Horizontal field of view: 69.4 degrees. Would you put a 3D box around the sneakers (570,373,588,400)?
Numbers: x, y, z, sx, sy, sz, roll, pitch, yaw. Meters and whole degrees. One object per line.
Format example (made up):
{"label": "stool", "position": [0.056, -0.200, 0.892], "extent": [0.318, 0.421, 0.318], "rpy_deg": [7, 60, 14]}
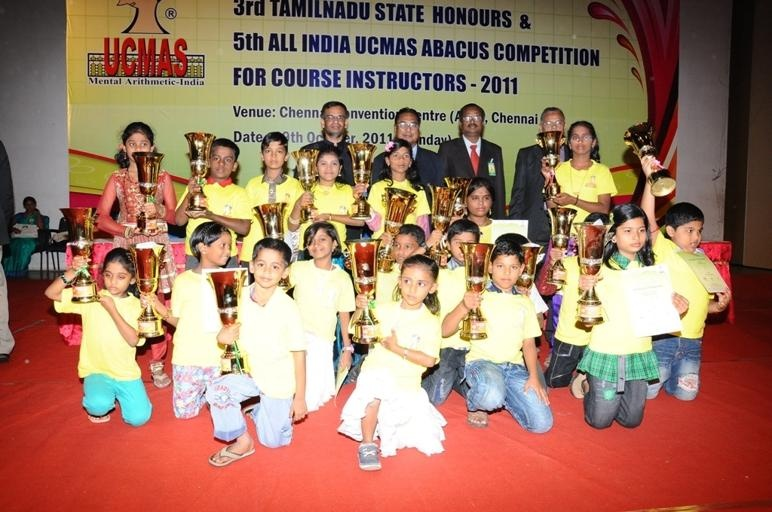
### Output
{"label": "sneakers", "position": [1.786, 1.204, 5.155], "extent": [0.092, 0.111, 0.263], "rpy_deg": [2, 13, 7]}

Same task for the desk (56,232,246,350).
{"label": "desk", "position": [-2.347, 0.525, 6.659], "extent": [1.569, 0.879, 1.878], "rpy_deg": [5, -11, -5]}

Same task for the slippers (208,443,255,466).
{"label": "slippers", "position": [-1.191, 1.517, 4.242], "extent": [0.235, 0.057, 0.134], "rpy_deg": [-6, 12, -33]}

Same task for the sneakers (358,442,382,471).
{"label": "sneakers", "position": [-0.127, 1.508, 4.207], "extent": [0.176, 0.160, 0.182], "rpy_deg": [-1, 9, -4]}

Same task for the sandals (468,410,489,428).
{"label": "sandals", "position": [0.778, 1.373, 4.713], "extent": [0.179, 0.119, 0.112], "rpy_deg": [1, 9, 7]}
